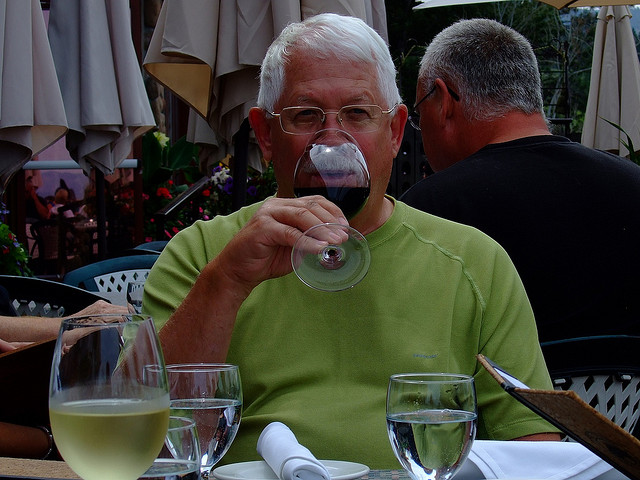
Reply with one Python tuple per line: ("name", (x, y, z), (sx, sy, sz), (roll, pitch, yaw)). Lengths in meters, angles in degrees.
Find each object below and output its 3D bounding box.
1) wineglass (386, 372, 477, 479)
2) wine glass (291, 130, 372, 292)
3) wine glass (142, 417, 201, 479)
("wineglass", (0.214, 0.368, 1.282), (0.170, 0.177, 0.116), (0, 3, 12))
("wine glass", (0.037, -0.094, 1.707), (0.211, 0.416, 0.401), (0, 3, -3))
("wine glass", (-0.263, 0.380, 1.204), (0.070, 0.096, 0.079), (2, -5, -4))
